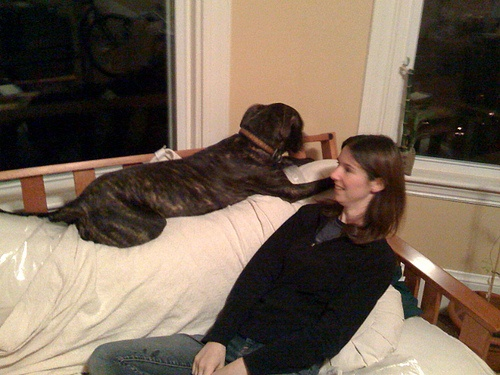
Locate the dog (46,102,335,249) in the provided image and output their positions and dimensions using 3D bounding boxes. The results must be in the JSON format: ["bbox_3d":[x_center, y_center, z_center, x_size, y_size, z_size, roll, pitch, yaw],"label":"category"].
[{"bbox_3d":[-0.205,-0.020,2.048,1.671,0.406,0.466,-15,35,-15],"label":"dog"}]
